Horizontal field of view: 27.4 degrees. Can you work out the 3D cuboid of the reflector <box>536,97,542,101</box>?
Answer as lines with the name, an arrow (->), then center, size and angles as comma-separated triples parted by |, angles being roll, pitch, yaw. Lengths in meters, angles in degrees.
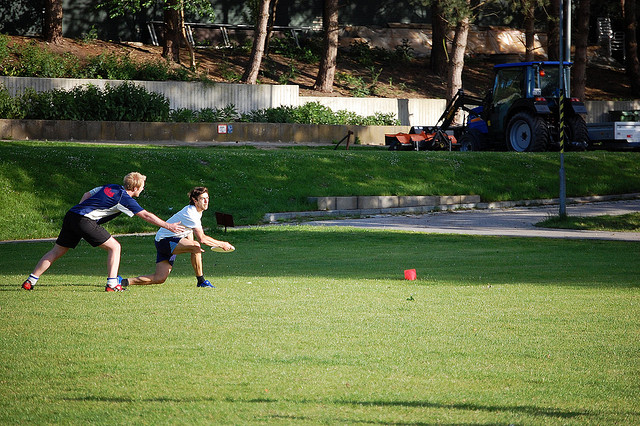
reflector -> 10.780, -5.652, 64.795 | 0.169, 0.098, 0.167 | 2, 3, 15

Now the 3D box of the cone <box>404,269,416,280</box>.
cone -> 3.212, 2.180, 46.711 | 0.336, 0.326, 0.338 | 3, -7, -37

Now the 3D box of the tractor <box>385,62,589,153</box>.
tractor -> 9.142, -5.439, 68.566 | 9.290, 4.305, 4.841 | 7, 11, 38

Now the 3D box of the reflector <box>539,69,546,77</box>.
reflector -> 11.077, -6.986, 65.340 | 0.142, 0.365, 0.488 | 5, 3, 40
